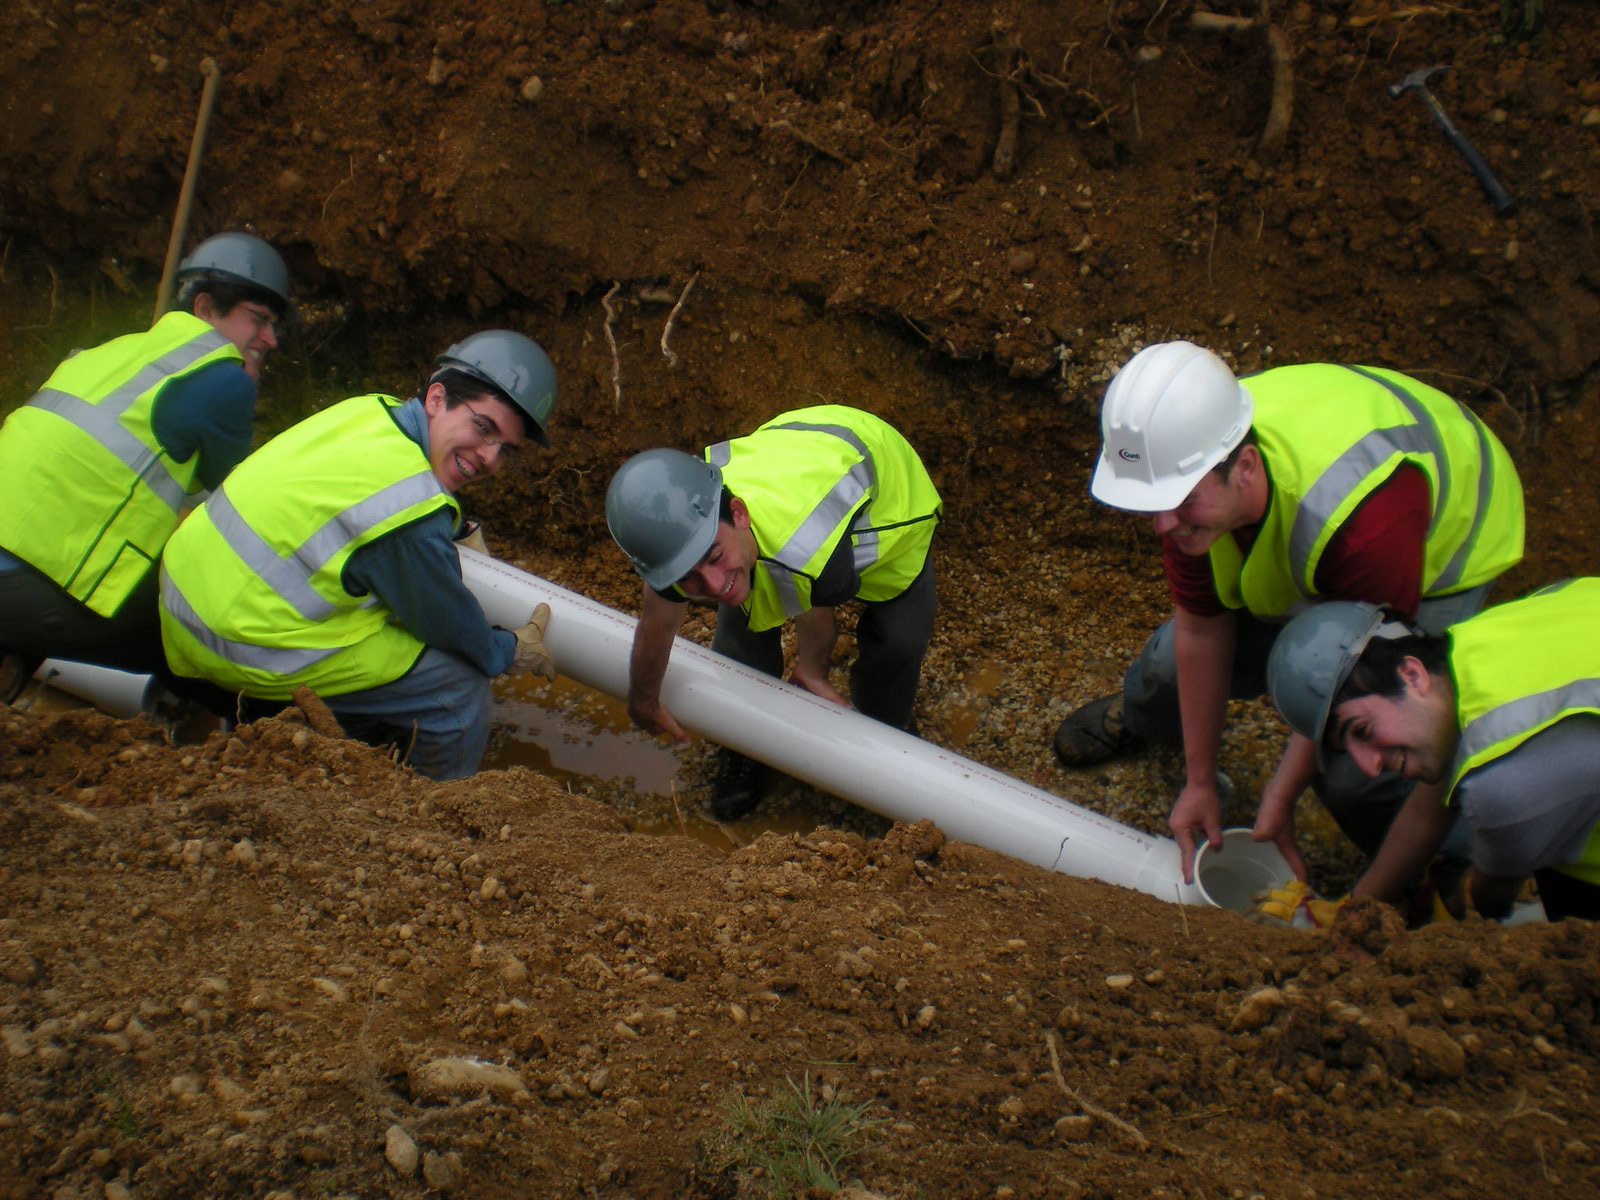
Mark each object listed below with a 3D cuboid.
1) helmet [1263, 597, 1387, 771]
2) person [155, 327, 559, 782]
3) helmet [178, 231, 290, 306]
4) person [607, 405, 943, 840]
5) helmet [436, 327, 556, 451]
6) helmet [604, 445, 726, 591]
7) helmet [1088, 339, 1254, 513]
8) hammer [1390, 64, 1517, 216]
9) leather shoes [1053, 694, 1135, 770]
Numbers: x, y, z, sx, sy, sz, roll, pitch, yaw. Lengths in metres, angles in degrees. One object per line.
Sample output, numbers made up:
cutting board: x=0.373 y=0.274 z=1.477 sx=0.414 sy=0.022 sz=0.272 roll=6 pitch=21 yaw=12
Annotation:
helmet: x=1.620 y=0.266 z=5.470 sx=0.231 sy=0.464 sz=0.332 roll=15 pitch=-21 yaw=7
person: x=-1.616 y=-0.172 z=6.276 sx=1.273 sy=1.681 sz=0.491 roll=7 pitch=20 yaw=-14
helmet: x=-2.240 y=-1.307 z=6.891 sx=0.319 sy=0.199 sz=0.285 roll=15 pitch=-1 yaw=-1
person: x=-0.166 y=0.183 z=6.403 sx=0.833 sy=1.787 sz=1.282 roll=24 pitch=23 yaw=28
helmet: x=-1.082 y=-0.774 z=6.395 sx=0.348 sy=0.399 sz=0.326 roll=13 pitch=23 yaw=20
helmet: x=-0.486 y=-0.340 z=5.881 sx=0.421 sy=0.450 sz=0.401 roll=-5 pitch=29 yaw=-28
helmet: x=1.198 y=-0.587 z=5.673 sx=0.467 sy=0.571 sz=0.307 roll=26 pitch=-19 yaw=45
hammer: x=2.669 y=-1.882 z=7.129 sx=0.787 sy=0.297 sz=0.102 roll=53 pitch=18 yaw=0
leather shoes: x=1.213 y=0.542 z=7.095 sx=0.423 sy=0.188 sz=0.169 roll=-22 pitch=-4 yaw=6
